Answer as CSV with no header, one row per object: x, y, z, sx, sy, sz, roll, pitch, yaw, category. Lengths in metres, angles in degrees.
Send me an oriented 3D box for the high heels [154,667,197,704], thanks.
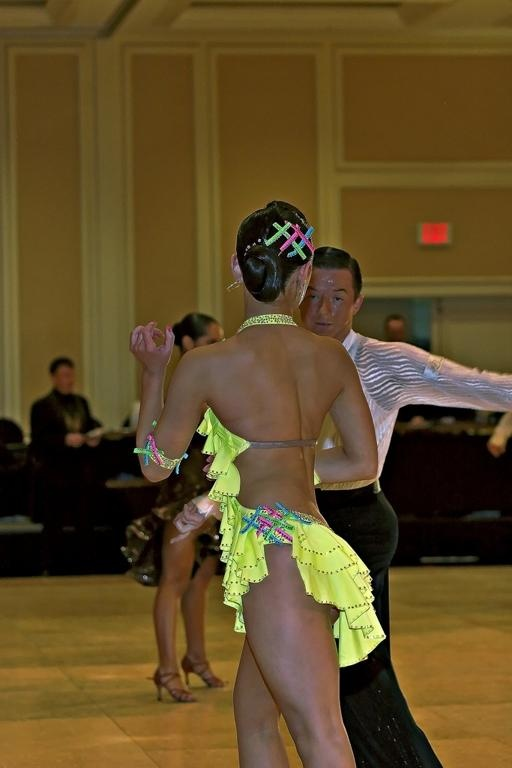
-0.310,1.068,3.400,0.082,0.102,0.229,1,-9,-40,high heels

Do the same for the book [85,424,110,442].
-0.823,0.264,4.931,0.118,0.091,0.087,19,-25,-38,book
